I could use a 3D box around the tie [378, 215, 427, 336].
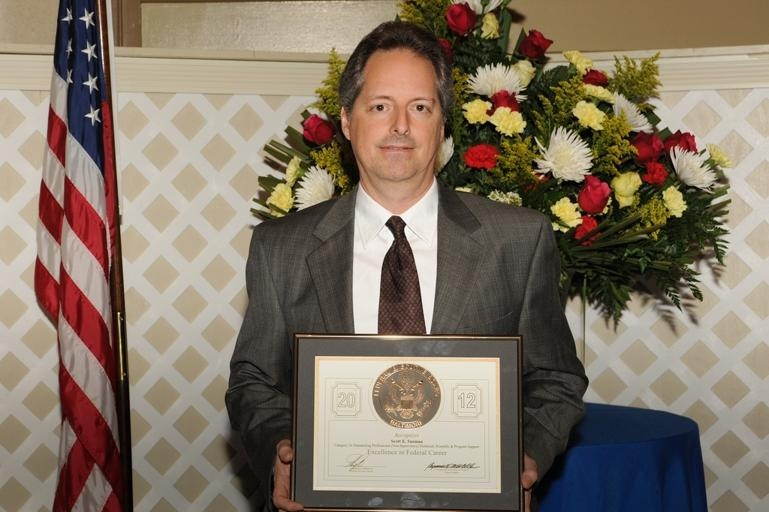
[{"bbox_3d":[0.065,0.059,2.759,0.171,0.434,0.086,0,-7,8],"label":"tie"}]
